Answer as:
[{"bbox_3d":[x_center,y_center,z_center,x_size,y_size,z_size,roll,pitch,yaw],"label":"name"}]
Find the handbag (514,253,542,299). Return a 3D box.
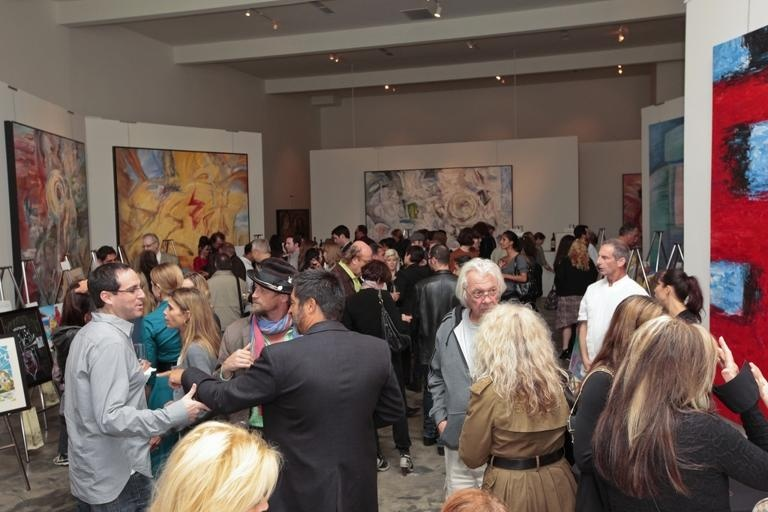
[{"bbox_3d":[2.289,0.321,9.092,0.323,0.731,0.702,-3,7,11],"label":"handbag"}]

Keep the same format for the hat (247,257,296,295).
[{"bbox_3d":[-0.783,0.146,3.973,0.287,0.108,0.261,10,30,-32],"label":"hat"}]

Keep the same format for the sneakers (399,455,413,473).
[{"bbox_3d":[0.220,2.168,5.807,0.077,0.102,0.228,0,-2,7],"label":"sneakers"}]
